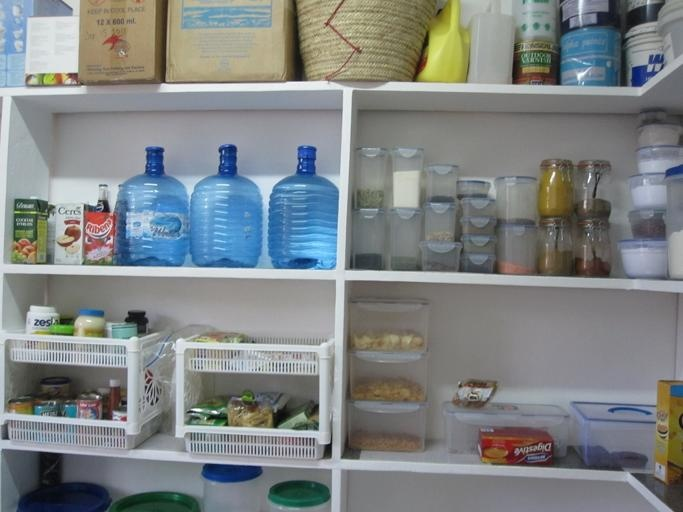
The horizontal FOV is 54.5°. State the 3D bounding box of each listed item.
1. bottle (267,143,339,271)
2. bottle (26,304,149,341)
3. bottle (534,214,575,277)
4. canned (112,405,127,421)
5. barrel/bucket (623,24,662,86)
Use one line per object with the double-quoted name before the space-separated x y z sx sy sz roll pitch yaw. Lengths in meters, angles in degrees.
"bottle" -0.138 -0.163 2.285 0.253 0.422 0.135 -2 2 1
"bottle" -0.919 0.229 2.346 0.441 0.121 0.212 -2 3 6
"bottle" 0.734 -0.010 2.245 0.161 0.265 0.225 -1 -4 22
"canned" -0.740 0.530 2.218 0.046 0.079 0.046 3 -7 -11
"barrel/bucket" 1.010 -0.663 2.179 0.086 0.211 0.167 -3 3 -11
